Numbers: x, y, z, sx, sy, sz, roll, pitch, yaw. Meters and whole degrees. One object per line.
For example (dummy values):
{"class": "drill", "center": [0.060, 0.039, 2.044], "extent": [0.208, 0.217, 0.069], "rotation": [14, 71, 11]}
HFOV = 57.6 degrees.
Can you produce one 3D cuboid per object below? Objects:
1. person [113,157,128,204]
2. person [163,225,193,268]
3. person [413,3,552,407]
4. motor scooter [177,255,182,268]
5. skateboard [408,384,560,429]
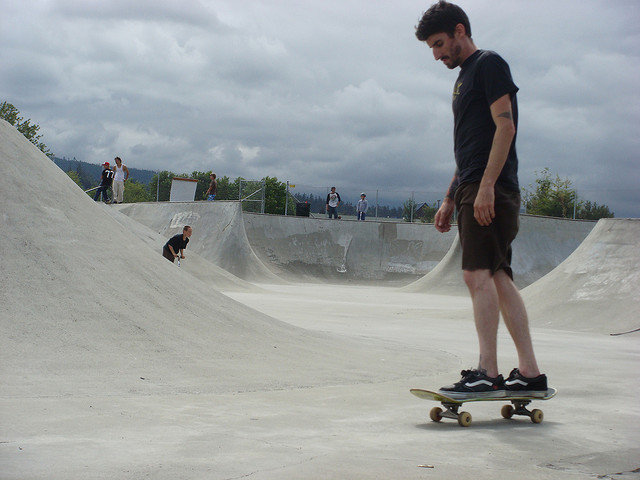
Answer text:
{"class": "person", "center": [-6.574, -1.946, 19.175], "extent": [0.458, 1.344, 2.018], "rotation": [2, -1, -19]}
{"class": "person", "center": [-3.156, 0.120, 12.957], "extent": [0.379, 0.349, 1.033], "rotation": [31, -45, -12]}
{"class": "person", "center": [0.960, -0.284, 3.438], "extent": [0.594, 2.339, 0.506], "rotation": [2, -2, -18]}
{"class": "motor scooter", "center": [-3.132, 0.441, 12.935], "extent": [0.051, 0.266, 1.906], "rotation": [2, -1, -13]}
{"class": "skateboard", "center": [0.923, 0.920, 3.268], "extent": [0.941, 0.229, 0.340], "rotation": [1, -1, -19]}
